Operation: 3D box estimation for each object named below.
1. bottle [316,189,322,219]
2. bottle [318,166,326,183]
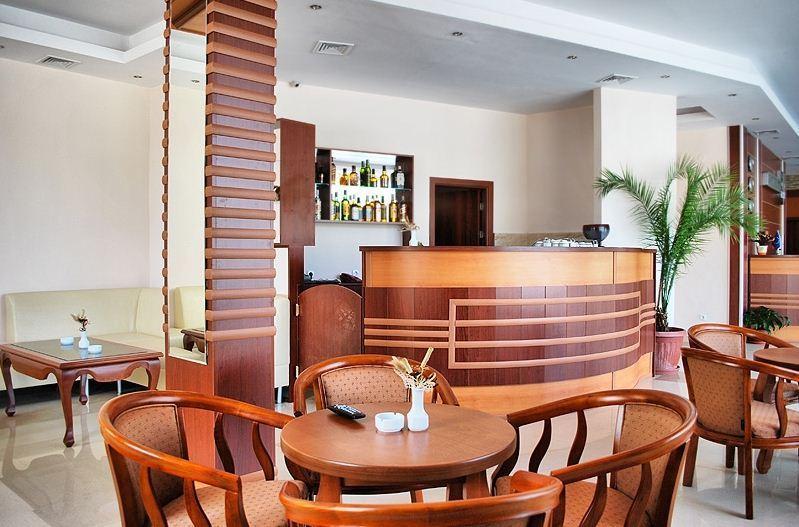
[{"bbox_3d":[-1.123,-0.847,7.840,0.077,0.404,0.081,-1,8,0],"label":"bottle"},{"bbox_3d":[-1.104,-1.274,7.897,0.121,0.237,0.185,-4,8,-20],"label":"bottle"}]
